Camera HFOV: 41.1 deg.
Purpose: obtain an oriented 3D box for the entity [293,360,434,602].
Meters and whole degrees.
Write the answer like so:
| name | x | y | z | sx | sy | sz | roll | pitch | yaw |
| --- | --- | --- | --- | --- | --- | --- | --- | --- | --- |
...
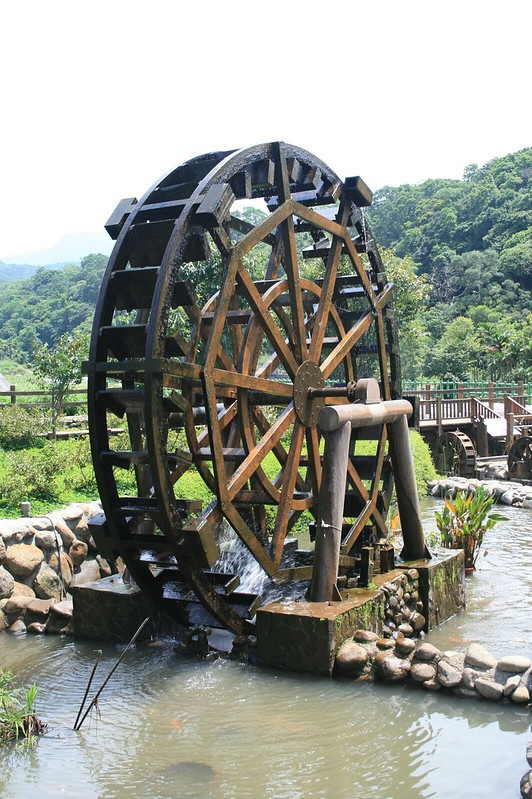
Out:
| name | x | y | z | sx | sy | sz | roll | pitch | yaw |
| --- | --- | --- | --- | --- | --- | --- | --- | --- | --- |
| entity | 0.629 | 0.551 | 5.202 | 0.655 | 1.435 | 1.475 | 3 | 5 | 41 |

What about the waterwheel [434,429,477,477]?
| name | x | y | z | sx | sy | sz | roll | pitch | yaw |
| --- | --- | --- | --- | --- | --- | --- | --- | --- | --- |
| waterwheel | 3.835 | 1.146 | 14.700 | 0.360 | 0.898 | 1.230 | 1 | -3 | -19 |
